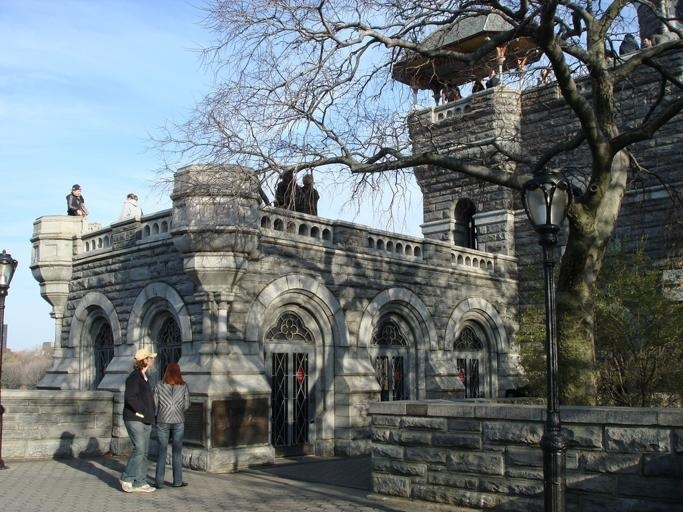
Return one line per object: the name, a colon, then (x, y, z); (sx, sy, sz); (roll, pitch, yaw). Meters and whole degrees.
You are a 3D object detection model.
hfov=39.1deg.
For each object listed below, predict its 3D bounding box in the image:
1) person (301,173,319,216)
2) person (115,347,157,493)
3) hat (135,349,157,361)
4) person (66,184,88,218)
person: (-0.906, -1.550, 24.408); (0.519, 0.363, 1.206); (11, -53, 9)
person: (-3.927, 3.168, 18.518); (0.643, 2.734, 0.826); (0, -9, -12)
hat: (-3.843, 1.943, 18.817); (0.400, 0.237, 0.581); (-3, -2, 26)
person: (-7.309, -1.477, 26.456); (0.465, 0.897, 0.379); (1, -9, -15)
